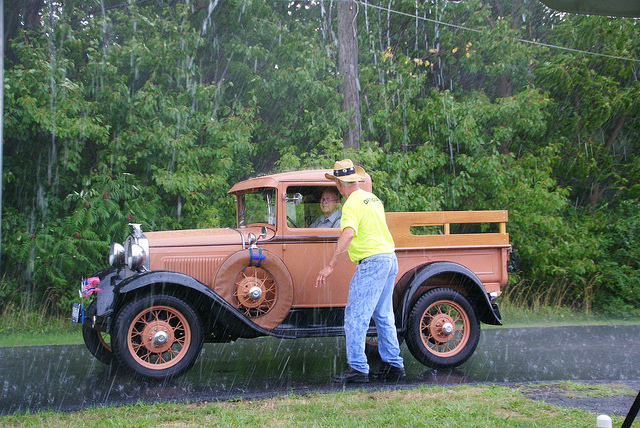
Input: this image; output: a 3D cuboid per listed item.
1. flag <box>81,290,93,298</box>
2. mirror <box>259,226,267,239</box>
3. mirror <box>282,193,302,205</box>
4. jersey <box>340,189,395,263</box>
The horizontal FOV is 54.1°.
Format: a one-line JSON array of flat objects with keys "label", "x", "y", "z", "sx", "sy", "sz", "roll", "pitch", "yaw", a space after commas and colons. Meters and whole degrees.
[{"label": "flag", "x": -4.120, "y": 1.383, "z": 11.093, "sx": 0.163, "sy": 0.151, "sz": 0.289, "roll": -2, "pitch": 7, "yaw": -19}, {"label": "mirror", "x": -1.039, "y": 0.339, "z": 11.395, "sx": 0.129, "sy": 0.165, "sz": 0.142, "roll": 2, "pitch": 1, "yaw": -20}, {"label": "mirror", "x": -0.501, "y": -0.280, "z": 11.537, "sx": 0.264, "sy": 0.204, "sz": 0.167, "roll": 3, "pitch": -15, "yaw": 0}, {"label": "jersey", "x": 0.839, "y": 0.193, "z": 10.878, "sx": 0.683, "sy": 1.280, "sz": 1.145, "roll": -9, "pitch": -5, "yaw": 44}]
